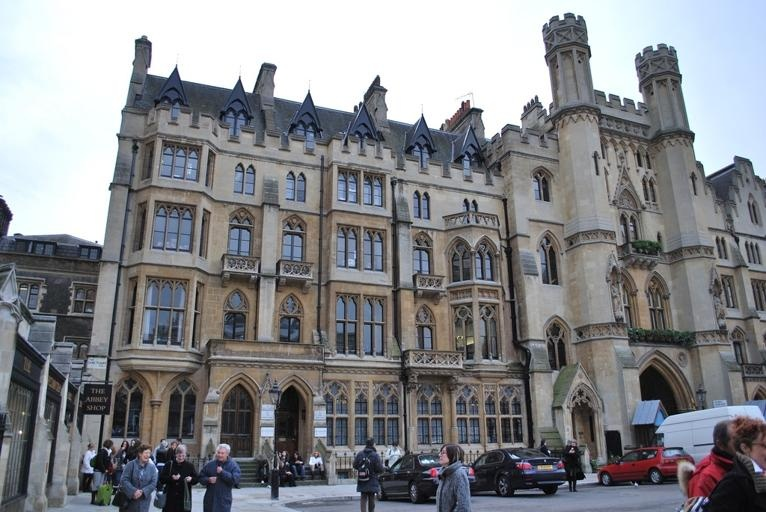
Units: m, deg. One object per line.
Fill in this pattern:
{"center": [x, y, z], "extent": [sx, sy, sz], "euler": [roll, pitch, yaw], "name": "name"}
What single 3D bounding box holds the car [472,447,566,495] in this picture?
{"center": [5.540, 8.702, 24.328], "extent": [1.791, 1.369, 4.046], "euler": [8, -20, -21], "name": "car"}
